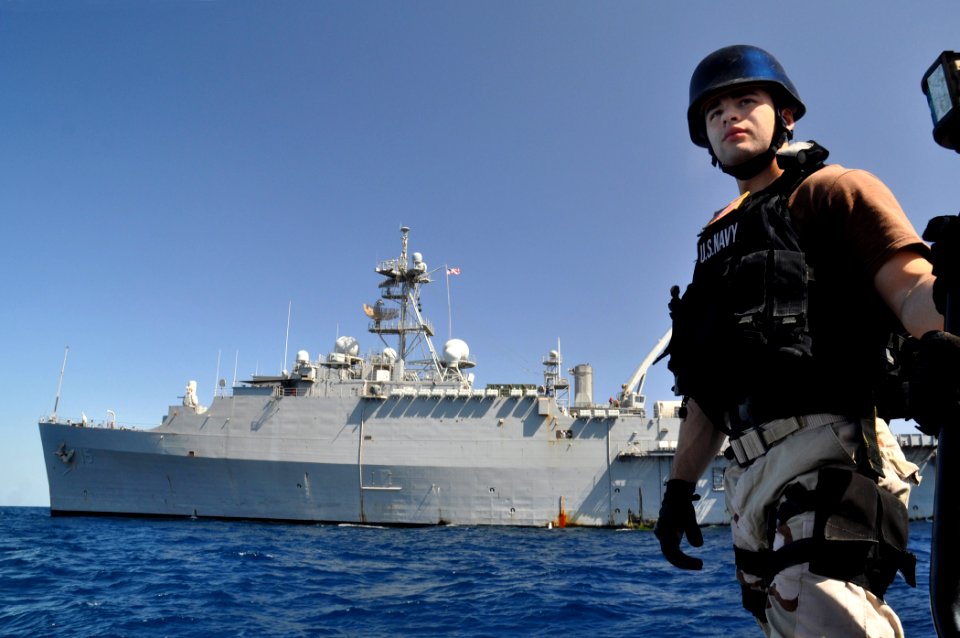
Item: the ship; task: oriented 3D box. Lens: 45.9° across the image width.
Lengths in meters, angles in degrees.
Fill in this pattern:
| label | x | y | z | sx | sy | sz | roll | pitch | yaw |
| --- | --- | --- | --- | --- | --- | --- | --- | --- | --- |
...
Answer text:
| label | x | y | z | sx | sy | sz | roll | pitch | yaw |
| --- | --- | --- | --- | --- | --- | --- | --- | --- | --- |
| ship | -2.922 | 4.569 | 64.021 | 43.346 | 13.737 | 24.977 | 2 | -5 | 5 |
